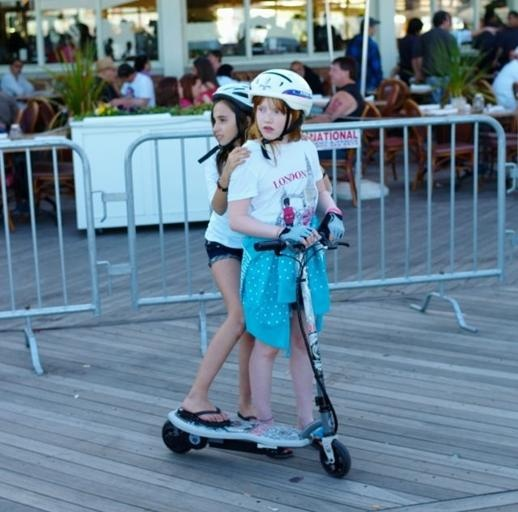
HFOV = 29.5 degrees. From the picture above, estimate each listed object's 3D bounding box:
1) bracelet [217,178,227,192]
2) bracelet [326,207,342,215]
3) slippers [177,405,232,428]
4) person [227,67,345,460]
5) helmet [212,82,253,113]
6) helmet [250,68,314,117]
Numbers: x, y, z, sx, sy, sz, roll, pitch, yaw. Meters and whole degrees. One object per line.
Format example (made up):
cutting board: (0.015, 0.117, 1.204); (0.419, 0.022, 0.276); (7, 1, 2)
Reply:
bracelet: (-0.160, -0.311, 4.298); (0.040, 0.028, 0.054); (10, 31, -19)
bracelet: (0.341, -0.193, 4.296); (0.050, 0.021, 0.036); (6, 15, -15)
slippers: (-0.248, 0.716, 4.332); (0.180, 0.044, 0.097); (5, 7, 27)
person: (0.135, 0.031, 4.271); (0.524, 1.645, 0.472); (-8, 14, -19)
helmet: (-0.110, -0.696, 4.322); (0.165, 0.099, 0.115); (-11, 22, -39)
helmet: (0.097, -0.686, 4.120); (0.165, 0.164, 0.229); (13, 15, 23)
